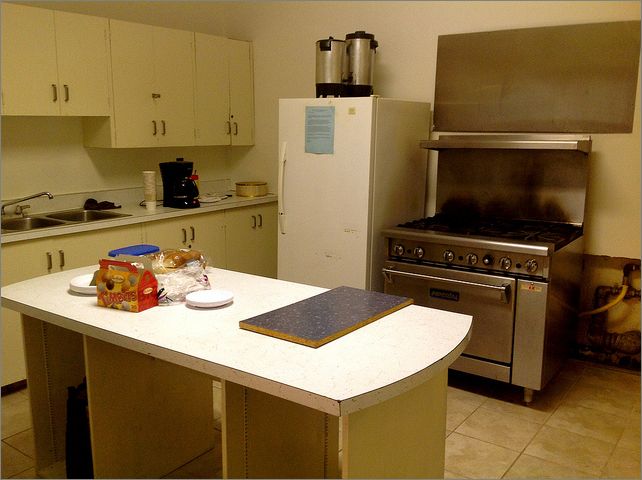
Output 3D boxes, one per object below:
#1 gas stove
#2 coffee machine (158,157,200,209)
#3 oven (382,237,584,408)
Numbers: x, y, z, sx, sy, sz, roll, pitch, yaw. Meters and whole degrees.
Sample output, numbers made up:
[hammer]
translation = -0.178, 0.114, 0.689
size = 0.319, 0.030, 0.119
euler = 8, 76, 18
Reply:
[gas stove]
translation = 1.522, -0.074, 4.129
size = 1.145, 0.133, 1.859
euler = 7, 8, 33
[coffee machine]
translation = -1.275, -0.518, 4.608
size = 0.331, 0.430, 0.254
euler = 6, 10, 27
[oven]
translation = 1.142, 0.477, 3.825
size = 1.237, 1.126, 0.861
euler = 8, 8, 40
